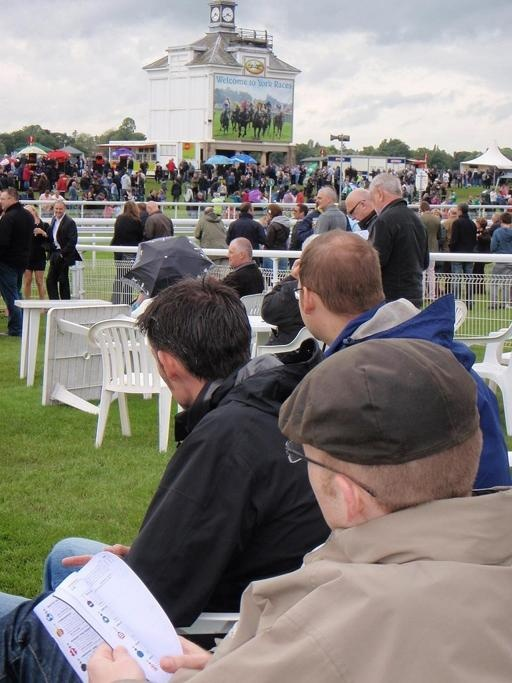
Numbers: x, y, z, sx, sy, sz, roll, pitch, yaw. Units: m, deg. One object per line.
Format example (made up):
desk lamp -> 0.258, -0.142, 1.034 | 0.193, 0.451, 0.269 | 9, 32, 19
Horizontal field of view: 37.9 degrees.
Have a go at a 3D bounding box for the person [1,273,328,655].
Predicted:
person -> -0.273, 0.289, 2.340 | 1.073, 1.087, 0.760 | 1, 4, 32

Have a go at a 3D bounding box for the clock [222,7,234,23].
clock -> -3.192, -37.115, 84.441 | 1.697, 1.888, 0.513 | -2, 7, -42

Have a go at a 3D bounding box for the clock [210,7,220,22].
clock -> -4.634, -37.097, 84.415 | 0.489, 1.844, 1.455 | -2, 7, -43
